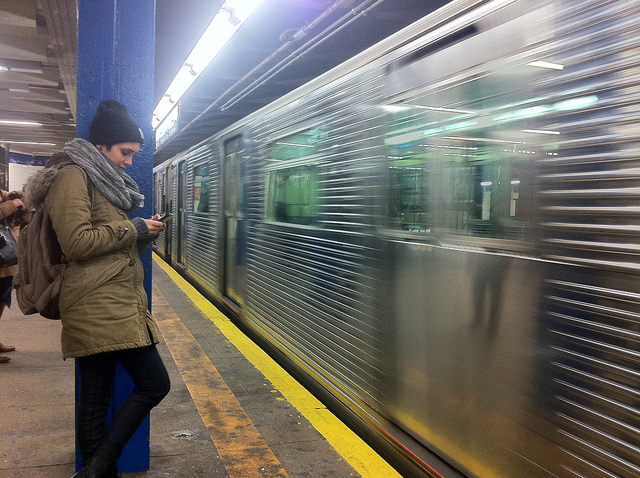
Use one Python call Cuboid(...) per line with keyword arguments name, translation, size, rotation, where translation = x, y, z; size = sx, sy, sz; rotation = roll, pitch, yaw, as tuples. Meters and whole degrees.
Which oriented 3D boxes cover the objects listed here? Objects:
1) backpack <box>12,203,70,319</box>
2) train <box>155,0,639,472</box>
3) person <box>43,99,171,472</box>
Cuboid(name="backpack", translation=(-1.408, 0.105, 2.106), size=(0.308, 0.571, 0.097), rotation=(5, 2, 21))
Cuboid(name="train", translation=(0.539, 0.039, 3.131), size=(0.729, 2.598, 3.382), rotation=(3, 2, -40))
Cuboid(name="person", translation=(-1.167, 0.300, 2.263), size=(0.624, 2.221, 0.580), rotation=(3, 2, -32))
